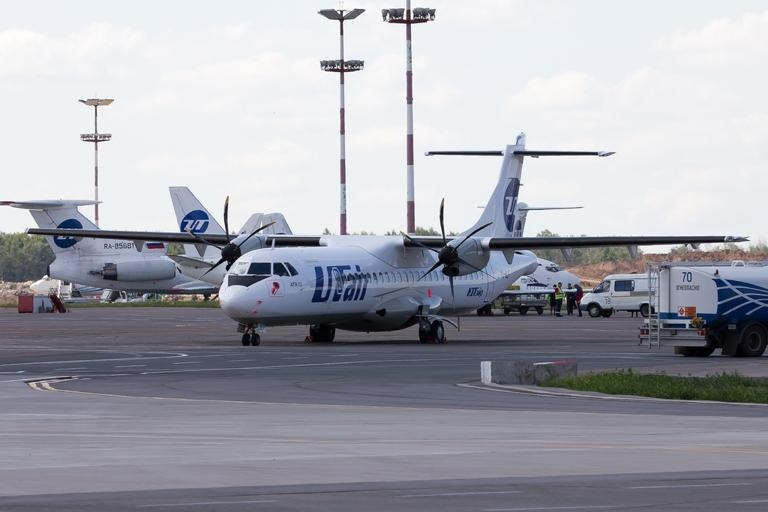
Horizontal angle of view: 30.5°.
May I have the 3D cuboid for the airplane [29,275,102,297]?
[{"bbox_3d":[-24.355,2.406,108.094,3.852,0.982,3.057,6,4,25],"label":"airplane"}]
